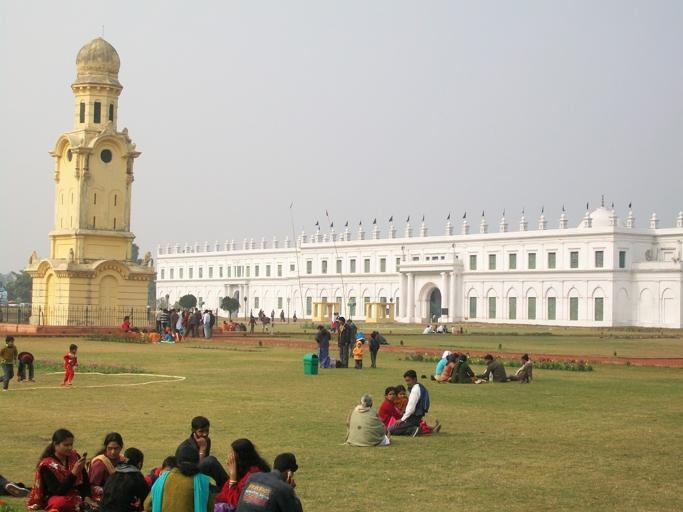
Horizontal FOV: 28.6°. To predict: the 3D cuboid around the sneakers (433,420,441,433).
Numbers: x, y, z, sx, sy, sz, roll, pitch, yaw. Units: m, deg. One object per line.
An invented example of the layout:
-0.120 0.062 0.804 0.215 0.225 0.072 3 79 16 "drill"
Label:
2.371 4.159 32.573 0.112 0.313 0.225 3 1 -23 "sneakers"
